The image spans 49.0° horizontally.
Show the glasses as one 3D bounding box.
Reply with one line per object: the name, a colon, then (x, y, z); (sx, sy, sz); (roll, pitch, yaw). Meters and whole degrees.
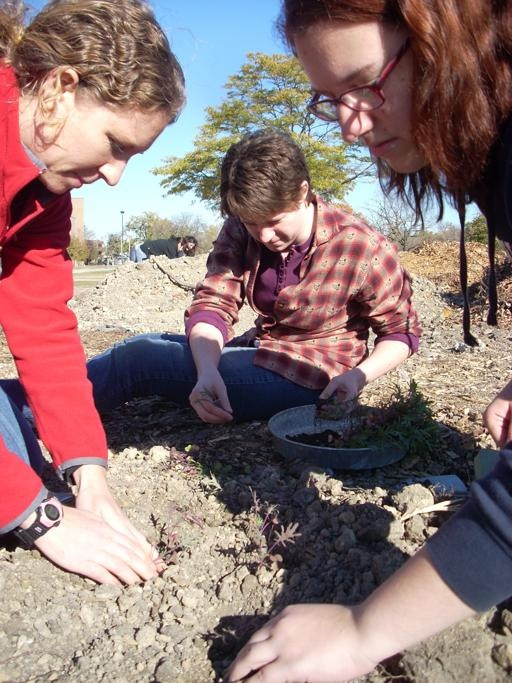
glasses: (0.280, -0.640, 1.315); (0.225, 0.067, 0.221); (-44, 21, -17)
